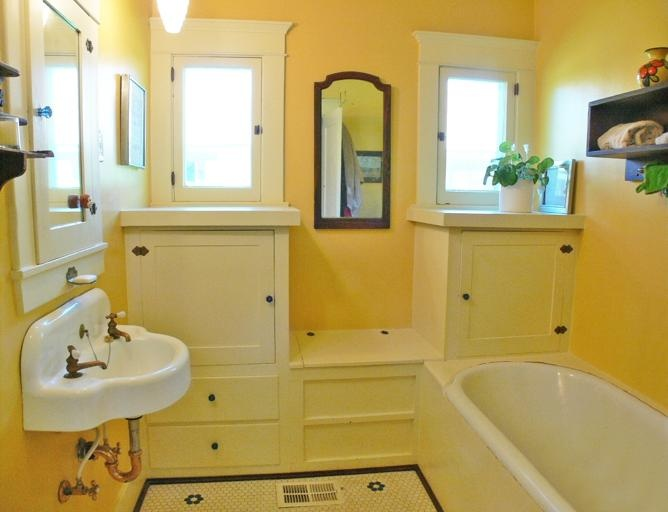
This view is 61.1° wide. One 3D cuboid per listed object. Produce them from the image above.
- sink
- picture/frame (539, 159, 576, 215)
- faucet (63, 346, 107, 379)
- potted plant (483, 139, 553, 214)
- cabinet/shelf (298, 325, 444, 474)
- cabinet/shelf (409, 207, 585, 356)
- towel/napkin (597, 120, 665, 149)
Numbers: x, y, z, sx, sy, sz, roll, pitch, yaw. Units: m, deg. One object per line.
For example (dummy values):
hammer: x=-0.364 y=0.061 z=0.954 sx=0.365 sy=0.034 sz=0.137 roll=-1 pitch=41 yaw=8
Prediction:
sink: x=-0.839 y=0.448 z=2.186 sx=0.475 sy=0.380 sz=0.708 roll=1 pitch=11 yaw=-4
picture/frame: x=1.250 y=-0.391 z=3.142 sx=0.022 sy=0.311 sz=0.292 roll=2 pitch=4 yaw=-18
faucet: x=-0.932 y=0.396 z=2.138 sx=0.183 sy=0.128 sz=0.083 roll=1 pitch=7 yaw=-22
potted plant: x=1.000 y=-0.418 z=3.295 sx=0.404 sy=0.413 sz=0.412 roll=0 pitch=4 yaw=-18
cabinet/shelf: x=0.165 y=0.578 z=3.113 sx=0.902 sy=0.733 sz=0.552 roll=-1 pitch=7 yaw=-3
cabinet/shelf: x=0.888 y=0.132 z=3.348 sx=0.946 sy=0.970 sz=0.724 roll=0 pitch=2 yaw=-6
towel/napkin: x=1.349 y=-0.549 z=2.588 sx=0.167 sy=0.070 sz=0.169 roll=-8 pitch=8 yaw=-31
